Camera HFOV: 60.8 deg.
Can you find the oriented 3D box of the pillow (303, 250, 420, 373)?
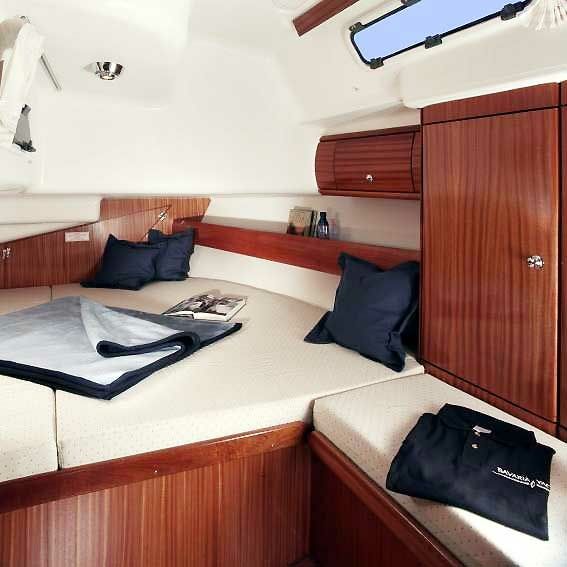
[{"bbox_3d":[0.343,0.087,1.970,0.280,0.321,0.501,-23,20,-33],"label":"pillow"}]

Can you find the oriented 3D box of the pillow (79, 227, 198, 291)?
[{"bbox_3d":[-0.968,-0.164,3.384,0.597,0.162,0.462,1,44,-3],"label":"pillow"}]
